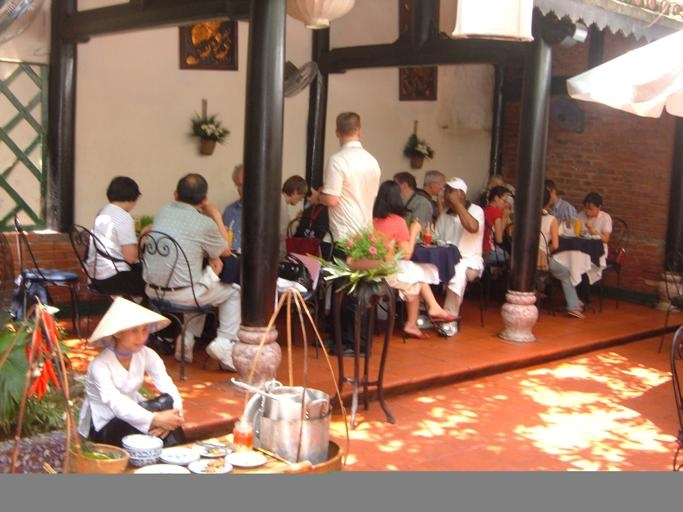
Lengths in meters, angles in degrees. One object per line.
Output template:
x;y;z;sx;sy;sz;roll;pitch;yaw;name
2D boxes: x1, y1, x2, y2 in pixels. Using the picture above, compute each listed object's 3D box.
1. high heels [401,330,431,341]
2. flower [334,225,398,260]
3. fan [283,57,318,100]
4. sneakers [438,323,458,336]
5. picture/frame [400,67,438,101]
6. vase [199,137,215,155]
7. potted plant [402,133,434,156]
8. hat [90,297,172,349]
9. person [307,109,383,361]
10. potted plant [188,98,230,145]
0.891;0.966;6.530;0.355;0.174;0.128;-1;-5;-2;high heels
0.233;-0.085;4.264;0.322;0.198;0.319;-7;13;-38;flower
-0.641;-2.731;8.403;0.445;0.530;0.370;4;11;0;fan
1.299;0.892;6.694;0.146;0.187;0.199;-4;-3;21;sneakers
1.478;-3.299;10.448;1.002;0.703;0.209;-7;15;-42;picture/frame
-1.976;-1.584;8.008;0.204;0.237;0.210;2;-24;-6;vase
1.514;-2.123;10.460;0.657;0.414;0.285;-6;15;-41;potted plant
-1.239;0.402;3.130;0.411;0.302;0.294;8;12;17;hat
0.042;-0.164;5.525;0.600;2.508;0.655;4;11;3;person
-1.899;-1.978;8.023;0.266;0.622;0.630;13;14;38;potted plant
